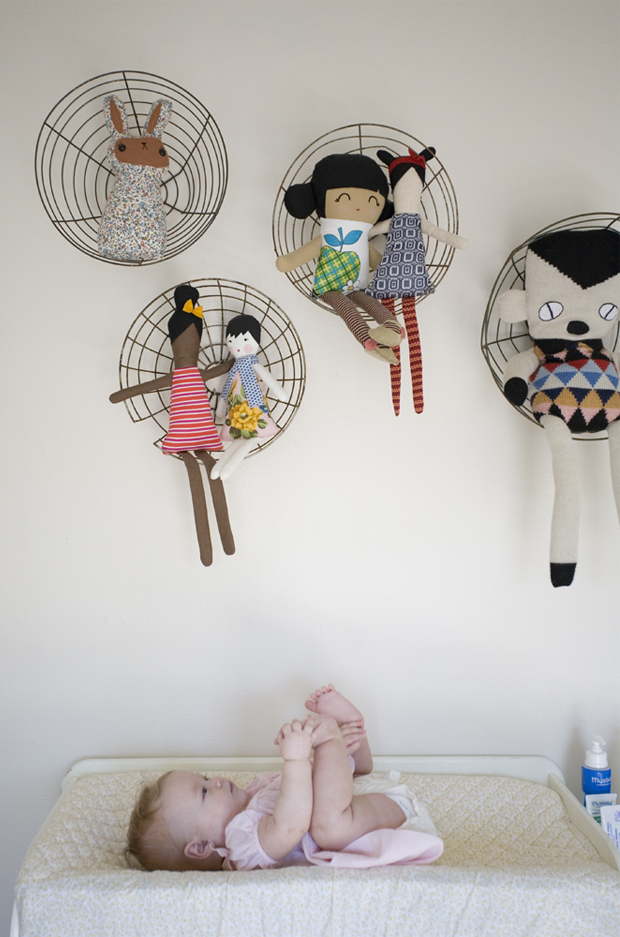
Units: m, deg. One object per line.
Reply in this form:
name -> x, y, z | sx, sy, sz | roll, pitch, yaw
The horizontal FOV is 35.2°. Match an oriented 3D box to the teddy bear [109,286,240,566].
teddy bear -> -0.249, -0.090, 2.167 | 0.246, 0.619, 0.241 | 5, 20, 37

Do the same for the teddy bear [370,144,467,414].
teddy bear -> 0.240, -0.389, 2.140 | 0.191, 0.587, 0.307 | -5, 16, 9

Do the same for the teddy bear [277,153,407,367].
teddy bear -> 0.054, -0.418, 2.063 | 0.306, 0.421, 0.170 | -6, -3, -18
